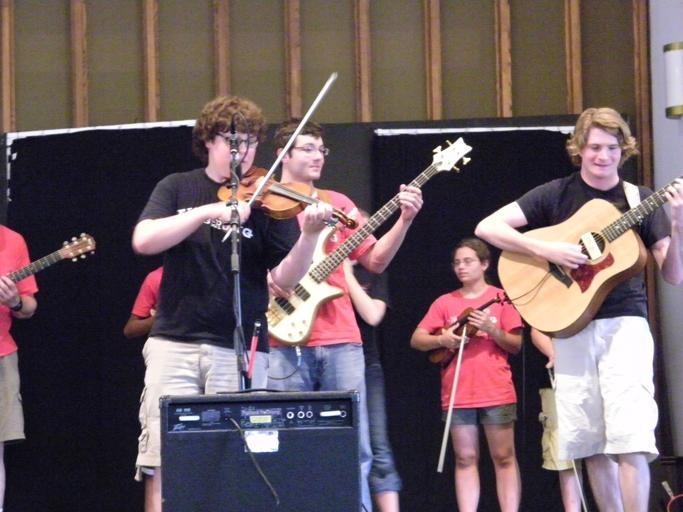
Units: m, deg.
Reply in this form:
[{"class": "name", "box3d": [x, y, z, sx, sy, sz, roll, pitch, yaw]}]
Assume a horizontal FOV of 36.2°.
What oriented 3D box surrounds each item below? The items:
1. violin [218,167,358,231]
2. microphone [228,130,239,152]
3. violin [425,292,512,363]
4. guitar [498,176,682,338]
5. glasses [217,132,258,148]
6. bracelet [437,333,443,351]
[{"class": "violin", "box3d": [-0.354, -0.326, 5.783, 0.664, 0.113, 0.328, 23, 35, 21]}, {"class": "microphone", "box3d": [-0.550, -0.577, 5.356, 0.046, 0.122, 0.111, -4, -8, -2]}, {"class": "violin", "box3d": [0.765, 0.467, 6.639, 0.649, 0.264, 0.098, -39, -44, 19]}, {"class": "guitar", "box3d": [1.323, 0.065, 5.934, 1.256, 0.530, 0.171, -38, -24, 14]}, {"class": "glasses", "box3d": [-0.561, -0.600, 5.447, 0.129, 0.040, 0.127, -5, -7, 38]}, {"class": "bracelet", "box3d": [0.622, 0.554, 6.672, 0.012, 0.086, 0.042, 2, -6, -31]}]
